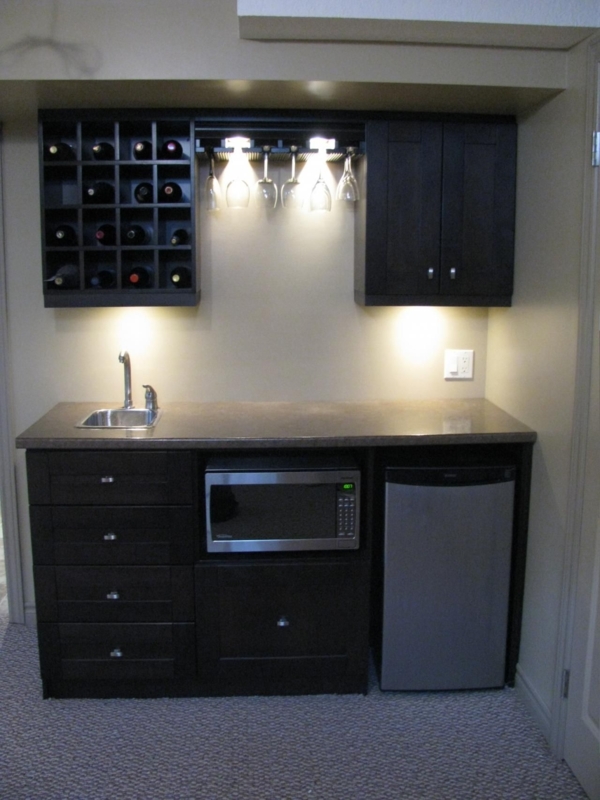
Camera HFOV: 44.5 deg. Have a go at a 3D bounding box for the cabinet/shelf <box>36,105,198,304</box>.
[{"bbox_3d":[-0.638,-0.692,2.547,0.580,0.813,0.222,-1,6,-5],"label":"cabinet/shelf"}]

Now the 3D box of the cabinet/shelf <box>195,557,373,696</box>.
[{"bbox_3d":[-0.062,0.638,2.525,0.673,0.566,0.411,-1,2,0],"label":"cabinet/shelf"}]

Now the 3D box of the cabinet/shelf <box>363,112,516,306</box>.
[{"bbox_3d":[0.514,-0.709,2.657,0.529,0.697,0.332,4,23,16],"label":"cabinet/shelf"}]
